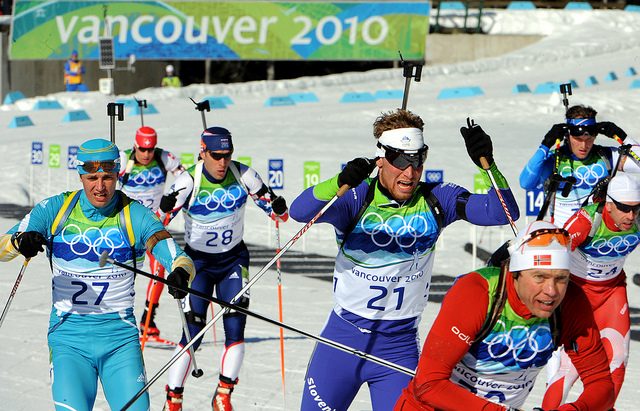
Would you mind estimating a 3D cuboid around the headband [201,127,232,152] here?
[{"bbox_3d":[-1.574,-1.003,16.224,0.432,0.281,0.390,0,0,-20],"label":"headband"}]
